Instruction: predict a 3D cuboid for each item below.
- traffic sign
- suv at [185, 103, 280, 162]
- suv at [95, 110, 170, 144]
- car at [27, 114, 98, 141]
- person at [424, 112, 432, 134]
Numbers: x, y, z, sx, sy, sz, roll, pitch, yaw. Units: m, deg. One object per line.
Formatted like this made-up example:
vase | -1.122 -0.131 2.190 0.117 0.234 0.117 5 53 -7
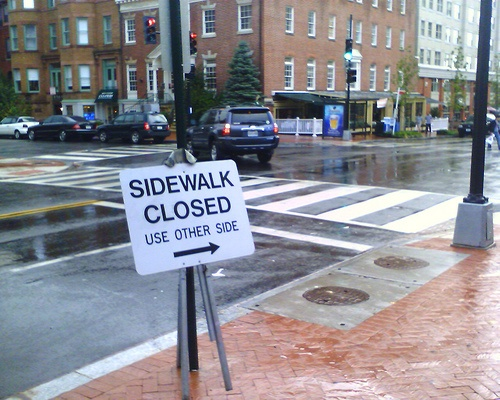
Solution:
traffic sign | -0.528 0.129 4.533 1.058 0.897 0.277 -5 9 -22
suv | -0.683 -2.367 19.789 1.695 2.061 3.134 -8 10 -38
suv | -6.549 -4.015 30.150 4.070 1.716 1.067 3 10 33
car | -11.691 -4.511 33.825 4.933 1.220 1.860 5 10 30
person | 14.305 -6.074 43.460 0.423 1.480 1.599 0 8 17
